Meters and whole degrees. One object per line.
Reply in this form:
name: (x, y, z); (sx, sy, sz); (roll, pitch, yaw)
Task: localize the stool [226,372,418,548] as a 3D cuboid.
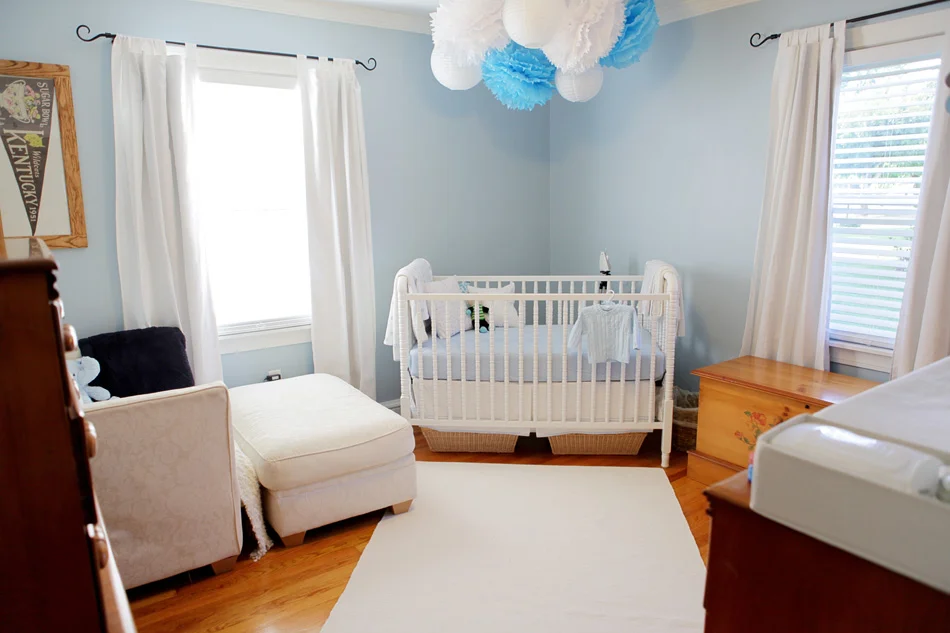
stool: (-0.762, 0.508, 3.173); (0.679, 0.438, 0.990); (-5, 9, -31)

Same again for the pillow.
pillow: (-0.012, -0.040, 3.890); (0.469, 0.426, 0.158); (-2, -23, -34)

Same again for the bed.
bed: (0.341, 0.247, 4.077); (1.670, 1.130, 1.075); (-2, 13, -3)

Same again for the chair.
chair: (-1.412, 0.585, 3.004); (0.777, 0.848, 0.821); (-8, 13, -31)
